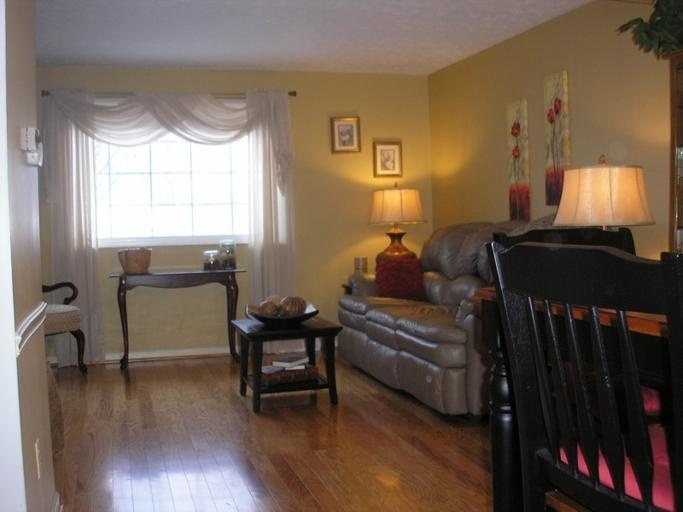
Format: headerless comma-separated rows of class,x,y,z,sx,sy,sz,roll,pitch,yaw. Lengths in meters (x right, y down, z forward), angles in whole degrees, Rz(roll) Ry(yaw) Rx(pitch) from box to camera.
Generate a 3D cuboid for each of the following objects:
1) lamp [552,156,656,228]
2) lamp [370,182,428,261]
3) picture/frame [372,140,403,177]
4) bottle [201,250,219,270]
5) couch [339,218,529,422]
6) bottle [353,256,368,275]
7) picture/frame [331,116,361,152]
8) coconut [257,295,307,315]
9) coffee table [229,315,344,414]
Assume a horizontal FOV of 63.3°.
lamp,1.488,-0.314,3.145,0.401,0.372,0.407,1,4,41
lamp,0.568,-0.304,5.731,0.529,0.763,0.556,-1,5,19
picture/frame,0.482,-1.073,6.055,0.362,0.463,0.035,-1,1,-19
bottle,-1.271,0.032,5.336,0.189,0.169,0.142,-1,4,8
couch,0.804,0.389,4.517,1.072,1.455,1.976,5,1,-25
bottle,0.219,0.097,5.739,0.140,0.241,0.148,0,4,0
picture/frame,0.025,-1.306,5.895,0.351,0.421,0.041,0,5,-18
coconut,-0.441,0.360,4.071,0.245,0.110,0.163,2,2,4
coffee table,-0.430,0.678,4.100,0.686,0.562,0.635,-1,-2,-21
